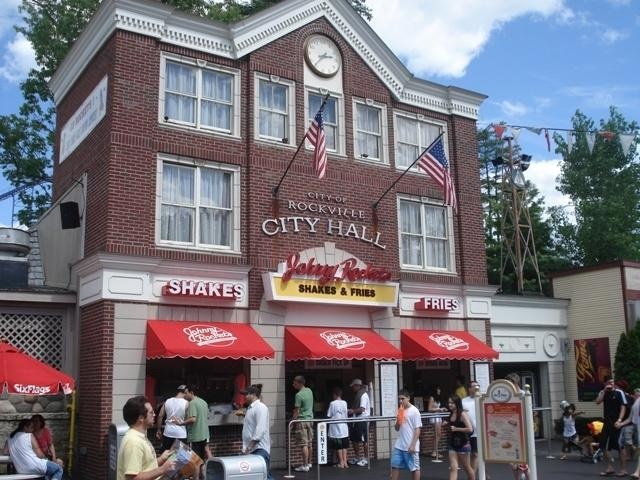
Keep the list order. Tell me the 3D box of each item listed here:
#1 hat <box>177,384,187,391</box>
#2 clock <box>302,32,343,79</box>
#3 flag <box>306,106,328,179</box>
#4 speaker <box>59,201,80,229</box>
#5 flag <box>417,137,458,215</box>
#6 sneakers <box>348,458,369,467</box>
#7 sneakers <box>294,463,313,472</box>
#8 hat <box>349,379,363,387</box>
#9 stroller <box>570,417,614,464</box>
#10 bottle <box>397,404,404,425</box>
[{"bbox_3d":[-3.712,4.001,20.635,0.192,0.071,0.213,-2,2,-23],"label":"hat"},{"bbox_3d":[0.011,-6.337,26.305,1.593,1.679,0.142,11,-22,-39],"label":"clock"},{"bbox_3d":[-0.073,-2.967,23.597,0.583,2.040,1.042,1,14,-25],"label":"flag"},{"bbox_3d":[-7.784,-0.768,23.930,0.772,0.846,0.447,8,12,4],"label":"speaker"},{"bbox_3d":[3.927,-2.313,25.221,0.979,2.233,1.411,-1,15,-34],"label":"flag"},{"bbox_3d":[1.184,6.794,23.316,0.556,0.255,0.194,11,-23,-20],"label":"sneakers"},{"bbox_3d":[-0.513,6.627,22.197,0.572,0.265,0.218,-1,-9,11],"label":"sneakers"},{"bbox_3d":[1.108,4.487,23.961,0.329,0.186,0.253,2,-6,42],"label":"hat"},{"bbox_3d":[8.845,6.435,24.413,0.714,1.165,1.078,23,-8,-1],"label":"stroller"},{"bbox_3d":[1.969,4.289,18.645,0.162,0.370,0.296,9,12,7],"label":"bottle"}]
